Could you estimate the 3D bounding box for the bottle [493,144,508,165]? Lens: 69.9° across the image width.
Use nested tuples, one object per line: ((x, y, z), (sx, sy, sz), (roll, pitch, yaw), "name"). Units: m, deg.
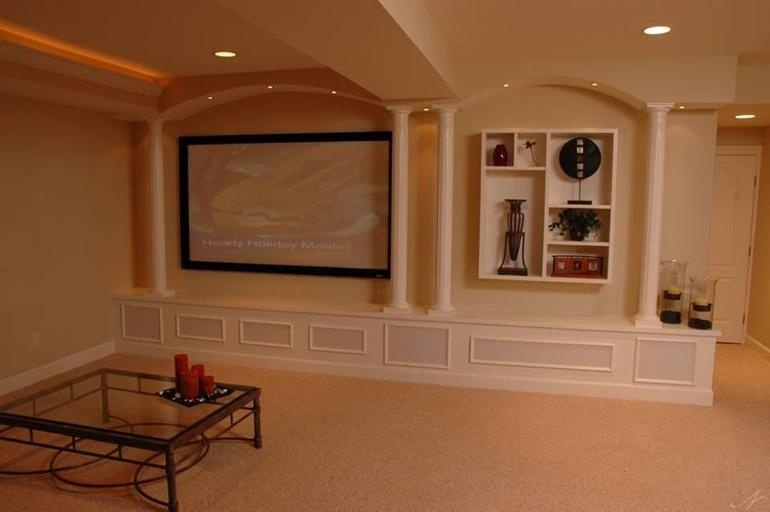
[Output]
((1.289, -1.113, 6.080), (0.191, 0.250, 0.143), (1, 1, -9), "bottle")
